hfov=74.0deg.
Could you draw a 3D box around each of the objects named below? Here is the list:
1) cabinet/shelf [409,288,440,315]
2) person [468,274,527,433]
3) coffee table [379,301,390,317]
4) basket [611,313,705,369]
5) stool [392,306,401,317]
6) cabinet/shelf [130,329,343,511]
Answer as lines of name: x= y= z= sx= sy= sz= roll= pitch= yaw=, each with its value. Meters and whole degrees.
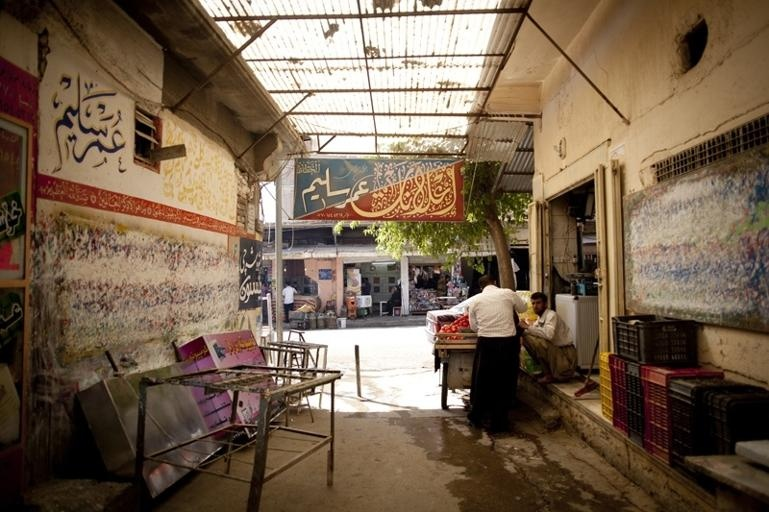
cabinet/shelf: x=1.934 y=2.194 z=25.393 sx=1.879 sy=1.429 sz=1.051 roll=1 pitch=0 yaw=2
person: x=1.625 y=1.477 z=7.496 sx=0.748 sy=2.024 sz=0.463 roll=0 pitch=1 yaw=12
coffee table: x=0.050 y=2.606 z=25.703 sx=0.522 sy=0.770 sz=0.740 roll=0 pitch=-10 yaw=-5
basket: x=3.284 y=0.981 z=5.957 sx=0.772 sy=0.473 sz=0.801 roll=-4 pitch=-9 yaw=17
stool: x=0.635 y=2.691 z=25.143 sx=0.467 sy=0.488 sz=0.361 roll=-4 pitch=-13 yaw=18
cabinet/shelf: x=-1.591 y=1.821 z=6.029 sx=1.689 sy=1.364 sz=1.779 roll=2 pitch=2 yaw=20
